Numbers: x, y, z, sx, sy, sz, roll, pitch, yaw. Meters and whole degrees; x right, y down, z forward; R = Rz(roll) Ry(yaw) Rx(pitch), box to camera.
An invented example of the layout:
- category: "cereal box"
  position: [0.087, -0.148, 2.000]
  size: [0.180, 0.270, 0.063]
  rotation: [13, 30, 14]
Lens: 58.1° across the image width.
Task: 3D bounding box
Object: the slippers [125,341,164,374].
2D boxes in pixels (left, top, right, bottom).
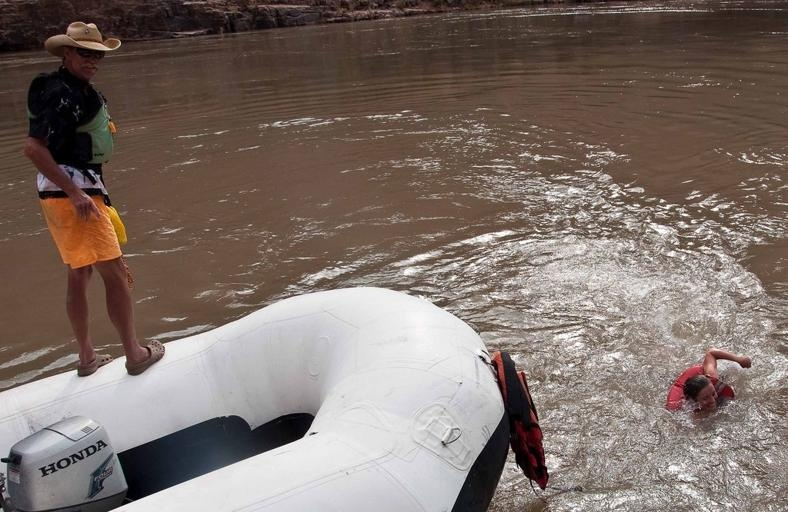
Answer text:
- category: "slippers"
  position: [-1.877, 0.781, 5.425]
  size: [0.165, 0.097, 0.298]
  rotation: [17, 37, 22]

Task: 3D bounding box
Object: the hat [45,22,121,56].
- category: "hat"
  position: [-2.366, -1.726, 5.363]
  size: [0.482, 0.156, 0.402]
  rotation: [0, -3, -22]

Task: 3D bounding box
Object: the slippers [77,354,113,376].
- category: "slippers"
  position: [-2.309, 0.831, 5.486]
  size: [0.125, 0.104, 0.296]
  rotation: [9, 21, 25]
